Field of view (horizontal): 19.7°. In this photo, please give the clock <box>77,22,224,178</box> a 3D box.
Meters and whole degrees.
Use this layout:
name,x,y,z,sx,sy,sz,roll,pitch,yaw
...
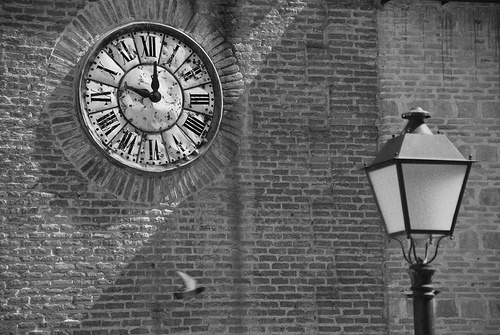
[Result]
name,x,y,z,sx,sy,sz,roll,pitch,yaw
clock,-1.169,-0.818,16.925,2.215,1.576,0.472,2,-3,-17

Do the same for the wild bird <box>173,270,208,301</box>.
name,x,y,z,sx,sy,sz,roll,pitch,yaw
wild bird,-0.738,1.359,16.638,0.423,0.171,0.338,-6,-75,3
